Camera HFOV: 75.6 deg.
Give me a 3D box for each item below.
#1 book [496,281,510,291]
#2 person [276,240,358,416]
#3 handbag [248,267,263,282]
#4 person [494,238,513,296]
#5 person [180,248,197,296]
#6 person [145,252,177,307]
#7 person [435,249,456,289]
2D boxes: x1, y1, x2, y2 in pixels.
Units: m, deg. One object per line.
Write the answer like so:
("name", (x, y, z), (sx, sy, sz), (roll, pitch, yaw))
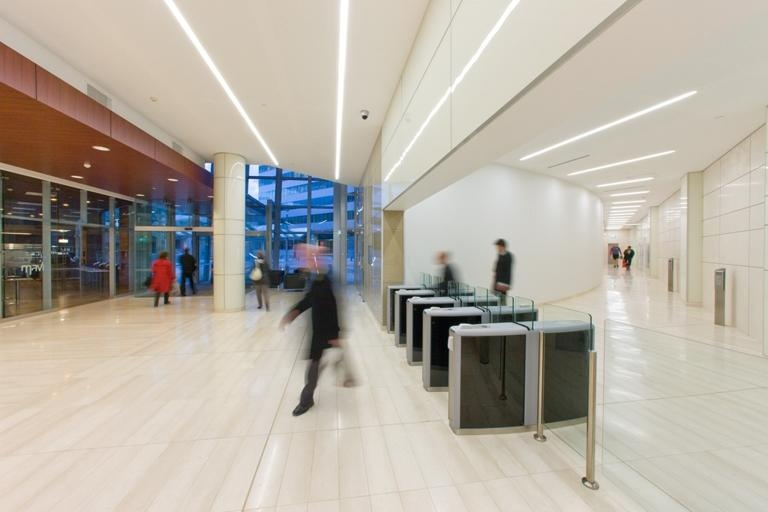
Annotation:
("book", (2.259, 0.574, 9.517), (0.181, 0.115, 0.185), (1, 1, 8))
("person", (-0.969, 1.039, 7.830), (0.970, 2.473, 1.396), (0, 6, 4))
("handbag", (-3.359, 0.494, 13.017), (0.327, 0.320, 0.310), (1, -17, 0))
("person", (2.261, 0.205, 9.484), (0.333, 1.020, 0.379), (1, 6, 10))
("person", (-6.567, 0.505, 16.519), (0.486, 1.642, 1.524), (-2, 7, -22))
("person", (-6.489, 0.627, 14.453), (0.625, 1.606, 1.843), (-3, 7, -25))
("person", (1.262, 0.319, 9.977), (0.382, 0.733, 1.076), (1, 6, 8))
